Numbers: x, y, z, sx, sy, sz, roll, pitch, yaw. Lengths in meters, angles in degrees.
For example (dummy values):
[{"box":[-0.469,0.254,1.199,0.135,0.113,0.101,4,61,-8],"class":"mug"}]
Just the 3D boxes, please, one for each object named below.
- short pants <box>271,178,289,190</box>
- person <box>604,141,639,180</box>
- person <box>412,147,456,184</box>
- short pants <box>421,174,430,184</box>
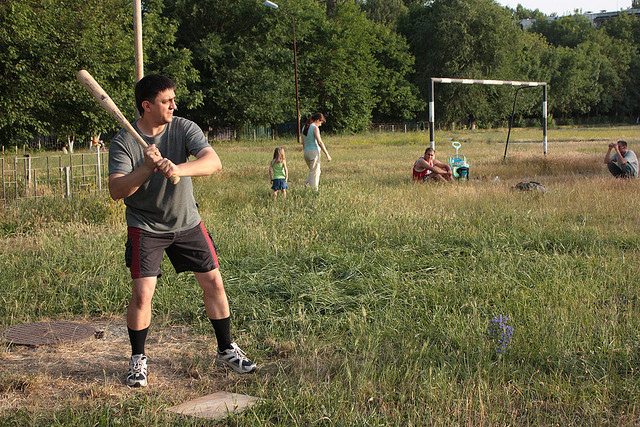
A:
[{"box":[-1.014,-0.739,18.667,0.335,0.269,0.251,0,-1,-9],"class":"short pants"},{"box":[8.483,-1.554,20.739,0.865,1.011,1.615,2,10,21],"class":"person"},{"box":[3.173,-1.378,20.592,1.155,0.892,1.173,0,9,8],"class":"person"},{"box":[2.932,-0.944,20.426,0.195,0.290,0.277,1,7,5],"class":"short pants"}]
